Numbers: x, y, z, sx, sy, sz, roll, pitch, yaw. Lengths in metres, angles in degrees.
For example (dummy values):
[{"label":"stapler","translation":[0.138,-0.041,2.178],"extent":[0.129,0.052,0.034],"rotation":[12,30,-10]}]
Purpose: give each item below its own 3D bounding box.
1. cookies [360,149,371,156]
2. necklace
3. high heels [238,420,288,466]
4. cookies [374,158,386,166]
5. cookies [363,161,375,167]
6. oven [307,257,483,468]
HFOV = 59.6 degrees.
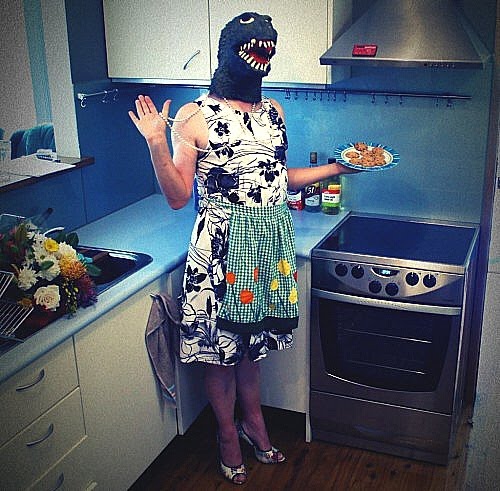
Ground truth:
[{"label":"cookies","translation":[0.457,-0.368,1.712],"extent":[0.038,0.017,0.013],"rotation":[8,9,28]},{"label":"necklace","translation":[-0.107,-0.391,1.407],"extent":[0.355,0.177,0.196],"rotation":[-9,20,-10]},{"label":"high heels","translation":[0.040,0.850,1.894],"extent":[0.258,0.066,0.088],"rotation":[28,29,34]},{"label":"cookies","translation":[0.496,-0.313,1.643],"extent":[0.024,0.013,0.039],"rotation":[6,29,11]},{"label":"cookies","translation":[0.445,-0.307,1.638],"extent":[0.035,0.012,0.047],"rotation":[-1,21,12]},{"label":"oven","translation":[0.606,0.347,1.968],"extent":[0.688,0.849,0.737],"rotation":[11,24,36]}]
